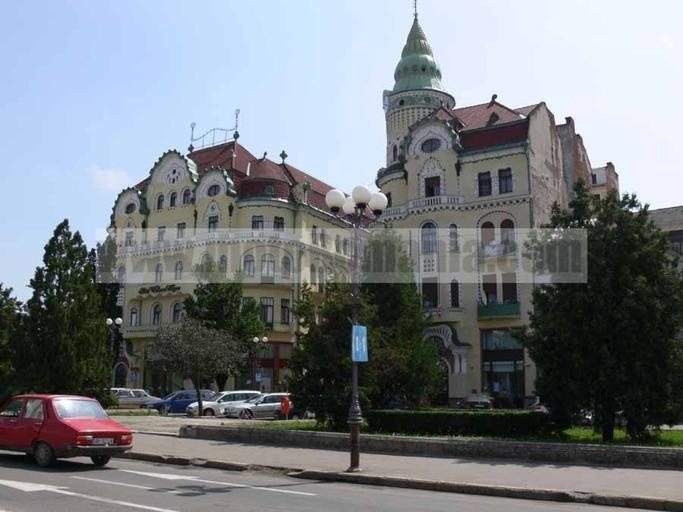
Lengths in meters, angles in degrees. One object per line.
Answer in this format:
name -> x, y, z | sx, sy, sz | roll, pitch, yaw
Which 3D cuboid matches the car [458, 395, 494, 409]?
car -> 7.409, 8.016, 54.223 | 1.639, 0.904, 1.046 | 1, -10, 16
